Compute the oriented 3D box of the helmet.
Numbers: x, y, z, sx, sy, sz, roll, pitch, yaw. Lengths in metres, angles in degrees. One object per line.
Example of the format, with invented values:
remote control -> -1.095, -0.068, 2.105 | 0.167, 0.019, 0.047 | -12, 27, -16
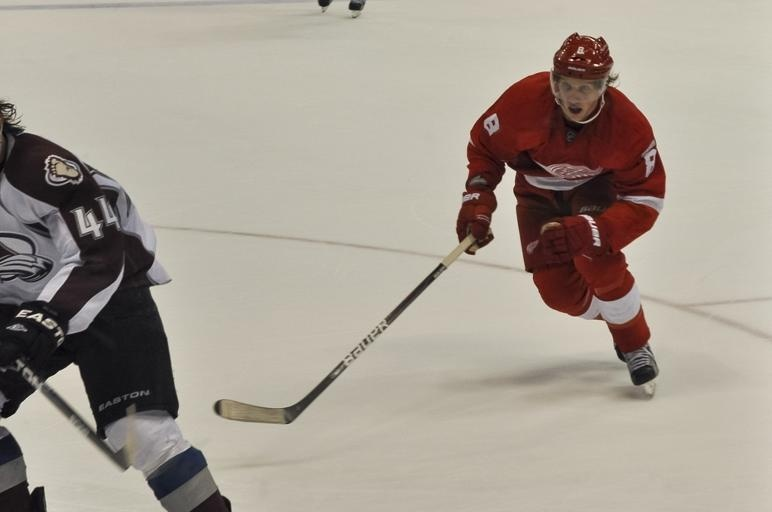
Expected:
helmet -> 1.025, -1.009, 5.133 | 0.330, 0.329, 0.346 | 7, 31, 6
